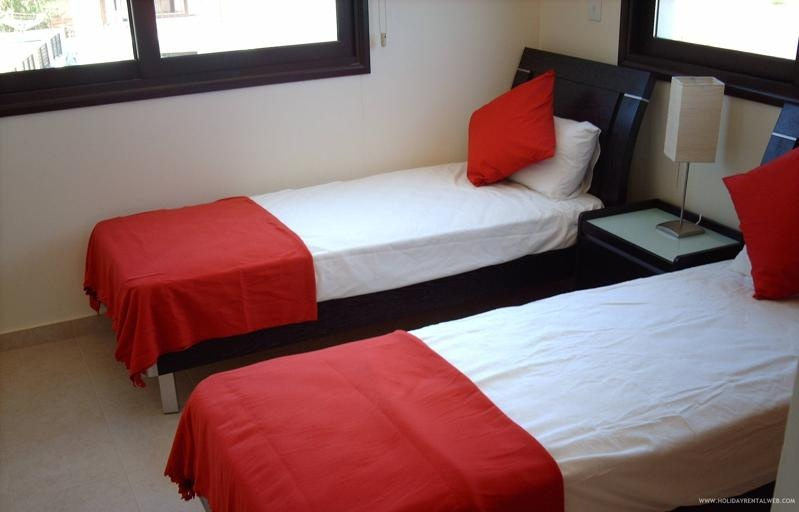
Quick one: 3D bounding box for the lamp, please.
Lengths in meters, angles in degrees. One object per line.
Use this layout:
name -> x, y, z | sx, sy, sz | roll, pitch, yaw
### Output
lamp -> 1.617, -0.553, 3.053 | 0.383, 0.850, 0.278 | -21, 29, -35
